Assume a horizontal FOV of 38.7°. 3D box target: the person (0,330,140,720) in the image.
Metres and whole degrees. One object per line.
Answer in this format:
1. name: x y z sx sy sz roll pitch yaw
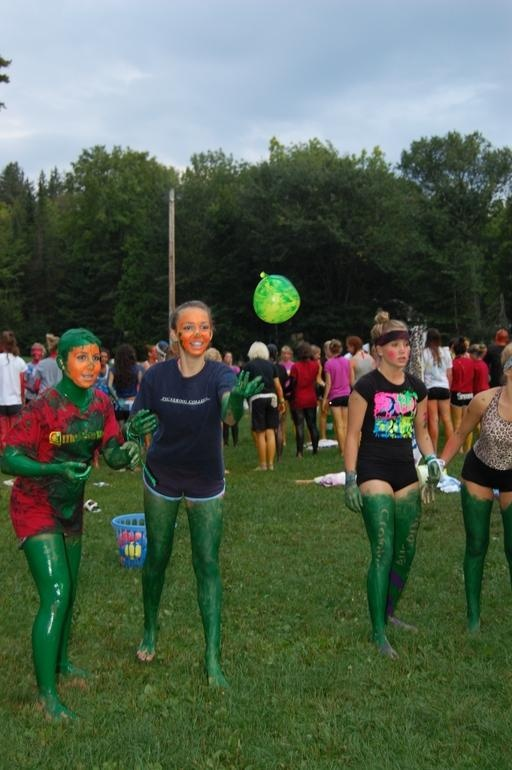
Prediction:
1. person: -0.945 0.688 3.566 0.575 1.884 0.818 2 8 10

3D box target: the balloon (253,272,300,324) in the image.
1. balloon: 0.273 -1.154 9.355 0.628 0.812 0.650 -1 -26 6

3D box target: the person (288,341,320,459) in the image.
1. person: 0.837 0.287 12.793 0.511 2.124 1.471 1 8 4

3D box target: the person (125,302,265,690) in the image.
1. person: -0.344 0.581 3.839 0.884 2.022 0.460 5 9 31
